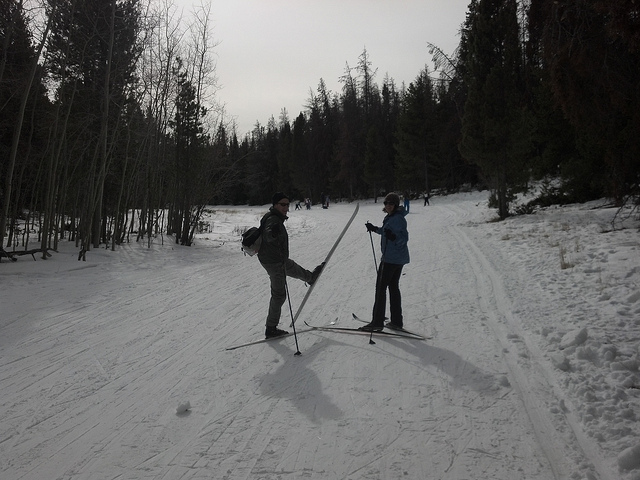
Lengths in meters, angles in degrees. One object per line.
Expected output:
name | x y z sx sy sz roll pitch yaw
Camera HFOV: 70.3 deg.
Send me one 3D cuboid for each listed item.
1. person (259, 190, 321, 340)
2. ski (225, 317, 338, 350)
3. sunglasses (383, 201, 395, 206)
person | -0.684 0.459 8.634 0.930 2.683 0.505 -2 3 -10
ski | -0.725 1.771 8.667 1.940 0.250 0.152 -11 14 -22
sunglasses | 1.341 -0.708 8.831 0.198 0.087 0.100 1 5 26
